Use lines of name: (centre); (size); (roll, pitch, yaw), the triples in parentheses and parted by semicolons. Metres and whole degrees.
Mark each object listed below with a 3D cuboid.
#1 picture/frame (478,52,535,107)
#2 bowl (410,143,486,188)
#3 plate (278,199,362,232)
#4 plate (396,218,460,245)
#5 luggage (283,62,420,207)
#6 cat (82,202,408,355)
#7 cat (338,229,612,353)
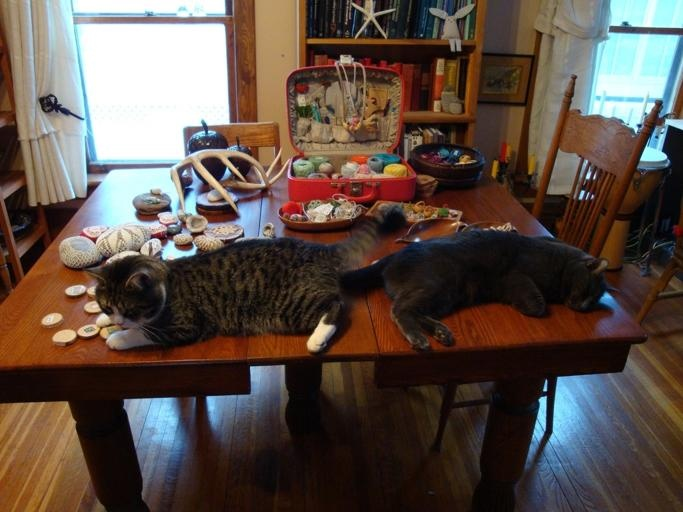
picture/frame: (1.184, -1.285, 3.685); (0.414, 0.398, 0.032); (2, 31, -1)
bowl: (0.548, -0.462, 2.637); (0.344, 0.139, 0.344); (2, 30, -1)
plate: (-0.093, -0.176, 2.167); (0.243, 0.076, 0.168); (0, 31, 1)
plate: (0.361, -0.107, 2.105); (0.261, 0.036, 0.110); (-21, 49, -19)
luggage: (0.044, -0.615, 2.488); (0.579, 0.581, 0.573); (-3, 34, -6)
cat: (-0.291, 0.021, 1.606); (0.749, 0.278, 0.361); (-5, 23, -15)
cat: (0.489, -0.003, 1.668); (0.646, 0.208, 0.442); (-10, 24, -13)
